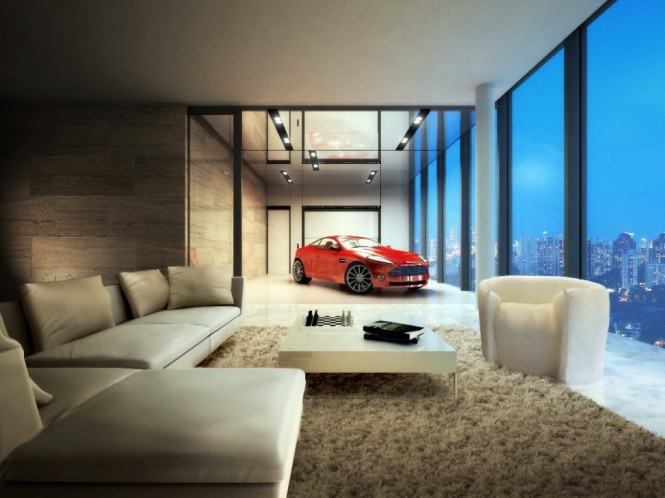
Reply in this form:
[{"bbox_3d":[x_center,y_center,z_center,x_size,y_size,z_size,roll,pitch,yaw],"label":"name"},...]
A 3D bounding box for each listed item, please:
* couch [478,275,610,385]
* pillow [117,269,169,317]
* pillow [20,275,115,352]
[{"bbox_3d":[1.993,0.697,4.396,0.908,0.891,1.176,0,1,-42],"label":"couch"},{"bbox_3d":[-1.848,0.416,4.489,0.131,0.441,0.459,-25,-2,22],"label":"pillow"},{"bbox_3d":[-2.179,0.508,3.867,0.256,0.534,0.746,-3,4,27],"label":"pillow"}]
